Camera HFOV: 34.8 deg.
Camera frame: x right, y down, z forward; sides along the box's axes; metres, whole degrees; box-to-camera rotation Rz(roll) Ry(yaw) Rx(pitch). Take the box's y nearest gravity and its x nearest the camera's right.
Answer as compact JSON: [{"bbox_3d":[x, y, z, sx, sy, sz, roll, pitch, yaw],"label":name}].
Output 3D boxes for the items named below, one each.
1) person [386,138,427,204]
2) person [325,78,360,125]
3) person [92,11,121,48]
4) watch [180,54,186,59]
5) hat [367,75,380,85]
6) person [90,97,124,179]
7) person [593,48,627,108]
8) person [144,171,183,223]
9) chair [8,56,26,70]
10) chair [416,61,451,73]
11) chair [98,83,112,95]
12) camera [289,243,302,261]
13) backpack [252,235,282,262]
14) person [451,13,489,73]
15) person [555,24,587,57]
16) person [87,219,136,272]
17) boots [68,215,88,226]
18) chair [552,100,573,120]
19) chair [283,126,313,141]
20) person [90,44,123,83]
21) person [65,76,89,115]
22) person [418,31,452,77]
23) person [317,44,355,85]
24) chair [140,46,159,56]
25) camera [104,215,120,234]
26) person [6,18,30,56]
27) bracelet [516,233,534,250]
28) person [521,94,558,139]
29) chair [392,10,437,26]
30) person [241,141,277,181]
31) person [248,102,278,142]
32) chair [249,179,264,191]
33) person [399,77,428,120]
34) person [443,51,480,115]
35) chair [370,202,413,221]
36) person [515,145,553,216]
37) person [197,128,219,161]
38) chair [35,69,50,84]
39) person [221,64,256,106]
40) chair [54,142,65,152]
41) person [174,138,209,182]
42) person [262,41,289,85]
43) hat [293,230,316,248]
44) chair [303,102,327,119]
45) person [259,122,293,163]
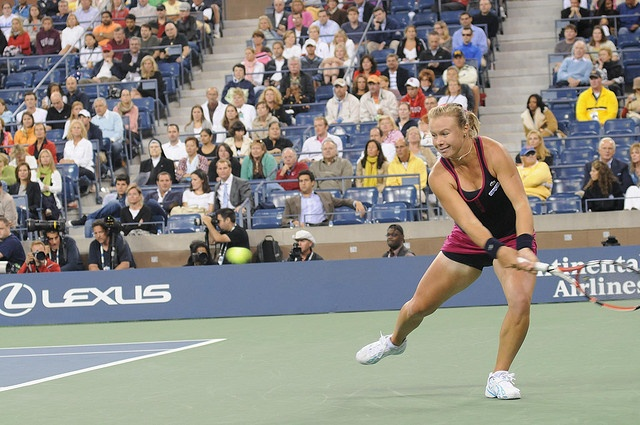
[{"bbox_3d":[1.579,-0.755,19.007,0.930,1.211,0.776,-10,1,-14],"label":"person"},{"bbox_3d":[0.442,-2.222,21.468,0.775,1.054,0.647,0,7,26],"label":"person"},{"bbox_3d":[-5.322,-4.538,25.771,0.746,1.026,0.613,-2,7,19],"label":"person"},{"bbox_3d":[-3.254,-3.687,24.376,0.082,0.082,0.077,-25,42,-20],"label":"watch"},{"bbox_3d":[1.125,-2.755,21.277,0.238,0.176,0.236,-3,13,2],"label":"hat"},{"bbox_3d":[-4.551,-1.616,21.764,0.879,1.607,0.895,-11,8,-32],"label":"person"},{"bbox_3d":[5.980,-2.745,21.212,0.601,1.289,0.709,-8,3,21],"label":"person"},{"bbox_3d":[-3.039,-0.127,19.545,0.719,1.266,0.732,7,-10,-12],"label":"person"},{"bbox_3d":[-7.562,-3.700,25.538,0.422,0.358,0.623,-7,13,-16],"label":"chair"},{"bbox_3d":[2.483,-3.137,22.055,0.420,0.148,0.298,3,-22,-1],"label":"chair"},{"bbox_3d":[-4.935,-2.811,23.432,0.345,0.306,0.244,-5,8,-12],"label":"chair"},{"bbox_3d":[-0.412,0.700,17.456,0.201,0.121,0.293,3,-39,6],"label":"camera"},{"bbox_3d":[-0.901,0.681,17.849,0.368,0.512,0.505,-6,-26,-8],"label":"backpack"},{"bbox_3d":[3.382,-3.697,22.622,0.689,1.264,0.678,-12,5,32],"label":"person"},{"bbox_3d":[5.445,-3.682,22.263,0.720,0.764,0.408,1,2,8],"label":"person"},{"bbox_3d":[-3.750,0.605,18.209,0.907,1.028,0.835,-6,1,-28],"label":"person"},{"bbox_3d":[-4.592,0.191,19.533,0.311,0.174,0.347,-6,13,-13],"label":"boots"},{"bbox_3d":[5.040,-2.111,21.223,0.394,0.294,0.398,3,11,17],"label":"chair"},{"bbox_3d":[-0.479,-1.656,21.171,0.425,0.275,0.405,1,2,10],"label":"chair"},{"bbox_3d":[-5.136,-3.435,24.212,0.904,1.032,0.849,2,6,-25],"label":"person"},{"bbox_3d":[-5.560,-2.537,22.819,0.761,0.922,0.514,-2,6,0],"label":"person"},{"bbox_3d":[2.514,-3.402,22.309,0.706,1.042,0.516,0,18,16],"label":"person"},{"bbox_3d":[0.317,-3.246,22.969,0.574,1.177,1.074,-1,-2,23],"label":"person"},{"bbox_3d":[-4.082,-3.847,24.351,0.254,0.202,0.336,-4,-12,27],"label":"chair"},{"bbox_3d":[-3.657,0.230,18.067,0.226,0.301,0.300,-13,-5,-41],"label":"camera"},{"bbox_3d":[-7.769,-4.496,26.229,0.639,0.945,0.762,-5,13,-4],"label":"person"},{"bbox_3d":[2.453,0.351,12.233,0.180,0.184,0.181,-2,-6,10],"label":"bracelet"},{"bbox_3d":[4.362,-1.815,20.388,0.721,0.980,0.646,-11,-1,20],"label":"person"},{"bbox_3d":[2.282,-4.606,24.348,0.742,0.321,0.251,5,12,32],"label":"chair"},{"bbox_3d":[-1.154,-0.923,19.891,0.839,1.032,0.735,-1,-1,7],"label":"person"},{"bbox_3d":[-1.181,-1.863,21.324,0.587,0.854,0.679,2,12,35],"label":"person"},{"bbox_3d":[-1.198,-0.525,19.415,0.237,0.297,0.251,-1,-15,2],"label":"chair"},{"bbox_3d":[1.891,-2.205,21.106,0.714,1.073,0.688,-1,5,5],"label":"person"},{"bbox_3d":[2.923,-2.663,21.397,0.813,1.415,0.783,2,7,9],"label":"person"},{"bbox_3d":[1.310,0.021,18.544,0.561,0.401,0.383,-1,9,17],"label":"chair"},{"bbox_3d":[3.836,-0.494,18.726,0.696,1.460,0.825,-7,-5,38],"label":"person"},{"bbox_3d":[-2.241,-1.377,20.610,0.719,0.592,0.356,-1,7,33],"label":"person"},{"bbox_3d":[-6.907,-3.335,25.283,0.368,0.304,0.652,-7,13,-15],"label":"chair"},{"bbox_3d":[-1.792,-2.764,22.582,0.751,1.011,0.595,1,3,6],"label":"person"},{"bbox_3d":[-5.462,-1.373,21.529,0.194,0.190,0.241,-6,-2,17],"label":"chair"},{"bbox_3d":[-2.568,-1.006,20.376,0.692,0.963,0.614,-5,2,17],"label":"person"},{"bbox_3d":[-0.967,-3.323,23.203,0.677,1.060,0.827,-2,9,4],"label":"person"},{"bbox_3d":[-0.275,0.440,17.453,0.339,0.269,0.227,-6,13,-10],"label":"hat"},{"bbox_3d":[-0.095,-2.200,22.052,0.388,0.371,0.338,-2,-2,21],"label":"chair"},{"bbox_3d":[-0.877,-1.274,20.314,0.626,1.030,0.577,-3,3,-1],"label":"person"}]
